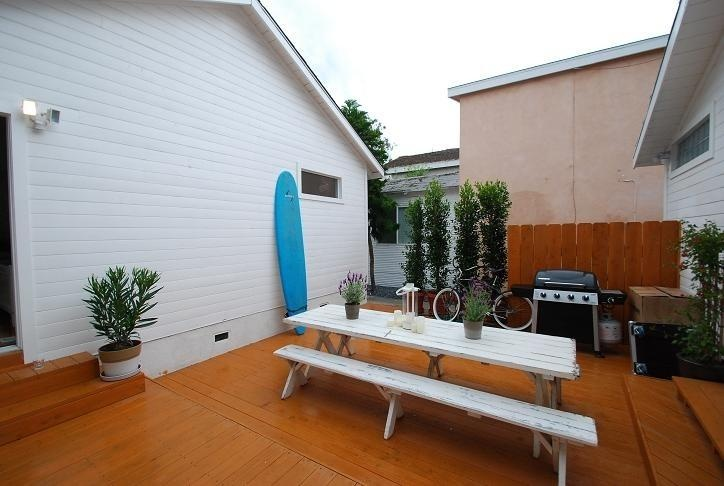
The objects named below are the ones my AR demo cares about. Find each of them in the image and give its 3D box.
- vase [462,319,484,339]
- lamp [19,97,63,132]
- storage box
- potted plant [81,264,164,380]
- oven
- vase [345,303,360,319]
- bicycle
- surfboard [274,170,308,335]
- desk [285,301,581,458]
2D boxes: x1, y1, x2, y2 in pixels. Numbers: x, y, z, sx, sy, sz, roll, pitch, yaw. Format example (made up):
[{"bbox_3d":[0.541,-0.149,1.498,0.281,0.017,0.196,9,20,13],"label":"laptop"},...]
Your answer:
[{"bbox_3d":[1.352,1.062,5.372,0.233,0.172,0.208,0,-2,38],"label":"vase"},{"bbox_3d":[-3.895,-1.583,5.335,0.340,0.209,0.324,-21,-26,-50],"label":"lamp"},{"bbox_3d":[4.280,0.880,6.278,0.989,0.324,0.971,-7,5,-42],"label":"storage box"},{"bbox_3d":[-2.803,1.044,6.356,1.409,2.030,1.203,3,-2,-37],"label":"potted plant"},{"bbox_3d":[3.244,0.998,7.317,1.494,1.236,1.578,6,5,13],"label":"oven"},{"bbox_3d":[-0.135,0.929,5.881,0.188,0.163,0.212,0,-5,14],"label":"vase"},{"bbox_3d":[2.308,1.032,8.218,1.978,1.155,0.870,6,-2,25],"label":"bicycle"},{"bbox_3d":[-1.287,-0.007,7.756,0.205,2.340,0.639,-2,1,32],"label":"surfboard"},{"bbox_3d":[1.428,1.746,6.220,4.002,1.411,2.828,8,4,36],"label":"desk"}]
